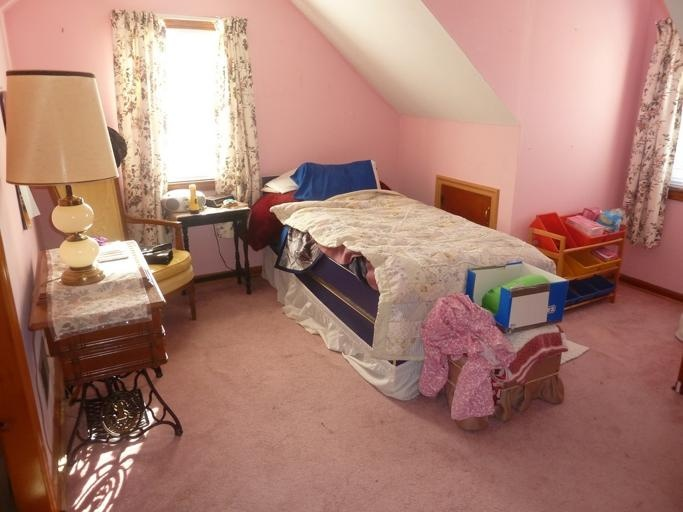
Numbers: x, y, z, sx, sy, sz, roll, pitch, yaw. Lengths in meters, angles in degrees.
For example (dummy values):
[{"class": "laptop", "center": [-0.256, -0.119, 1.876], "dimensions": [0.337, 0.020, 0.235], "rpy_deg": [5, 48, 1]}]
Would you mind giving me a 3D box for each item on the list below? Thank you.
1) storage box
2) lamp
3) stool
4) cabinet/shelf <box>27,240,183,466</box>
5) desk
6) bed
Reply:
[{"class": "storage box", "center": [1.060, 0.236, 3.086], "dimensions": [0.537, 0.320, 0.370], "rpy_deg": [-9, 20, -17]}, {"class": "lamp", "center": [-1.352, -0.362, 2.455], "dimensions": [0.482, 1.021, 0.287], "rpy_deg": [-11, 20, -24]}, {"class": "stool", "center": [1.050, 0.742, 3.025], "dimensions": [0.558, 0.368, 0.711], "rpy_deg": [-1, 10, 21]}, {"class": "cabinet/shelf", "center": [-1.273, 0.555, 2.658], "dimensions": [0.486, 0.801, 0.902], "rpy_deg": [-8, 23, -20]}, {"class": "desk", "center": [-1.064, -0.147, 4.480], "dimensions": [0.736, 0.946, 0.542], "rpy_deg": [-8, 20, -23]}, {"class": "bed", "center": [0.181, -0.059, 3.707], "dimensions": [1.290, 0.679, 1.705], "rpy_deg": [-14, 27, -31]}]
